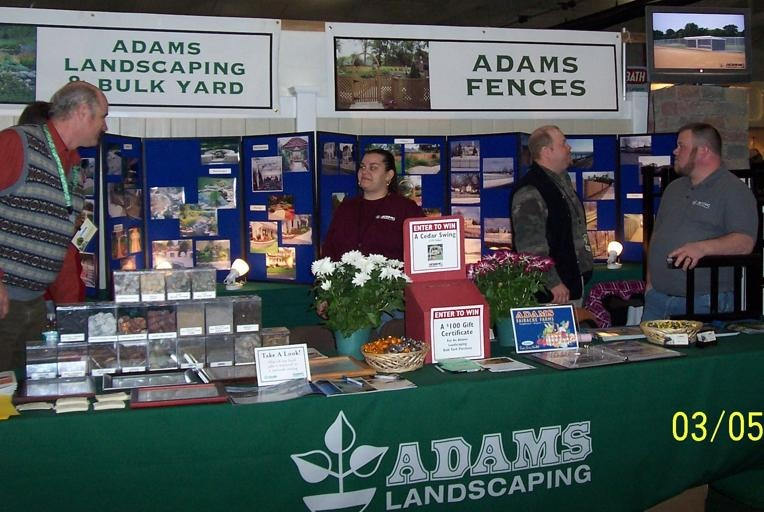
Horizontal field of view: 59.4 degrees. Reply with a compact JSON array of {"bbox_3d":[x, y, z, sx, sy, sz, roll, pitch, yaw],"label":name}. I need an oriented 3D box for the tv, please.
[{"bbox_3d":[2.916,-1.946,6.208,0.794,0.506,0.219,-1,3,-2],"label":"tv"}]

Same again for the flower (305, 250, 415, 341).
[{"bbox_3d":[-0.078,0.283,3.534,0.525,0.505,0.545,10,-4,-21],"label":"flower"}]

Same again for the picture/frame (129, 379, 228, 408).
[{"bbox_3d":[-0.871,0.599,2.909,0.410,0.066,0.189,-6,11,-7],"label":"picture/frame"}]

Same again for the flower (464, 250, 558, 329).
[{"bbox_3d":[0.644,0.115,3.507,0.387,0.422,0.428,-3,12,-7],"label":"flower"}]

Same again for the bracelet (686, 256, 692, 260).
[{"bbox_3d":[1.654,0.013,3.617,0.024,0.020,0.006,0,-9,11],"label":"bracelet"}]

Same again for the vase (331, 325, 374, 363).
[{"bbox_3d":[-0.150,0.447,3.402,0.183,0.145,0.166,1,1,18],"label":"vase"}]

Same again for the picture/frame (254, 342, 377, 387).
[{"bbox_3d":[-0.363,0.510,3.132,0.374,0.122,0.250,-3,10,-20],"label":"picture/frame"}]

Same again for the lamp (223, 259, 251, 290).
[{"bbox_3d":[-1.150,0.136,5.342,0.181,0.214,0.430,-6,11,-3],"label":"lamp"}]

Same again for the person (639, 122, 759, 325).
[{"bbox_3d":[1.849,-0.165,3.955,0.642,1.180,0.871,0,12,28],"label":"person"}]
